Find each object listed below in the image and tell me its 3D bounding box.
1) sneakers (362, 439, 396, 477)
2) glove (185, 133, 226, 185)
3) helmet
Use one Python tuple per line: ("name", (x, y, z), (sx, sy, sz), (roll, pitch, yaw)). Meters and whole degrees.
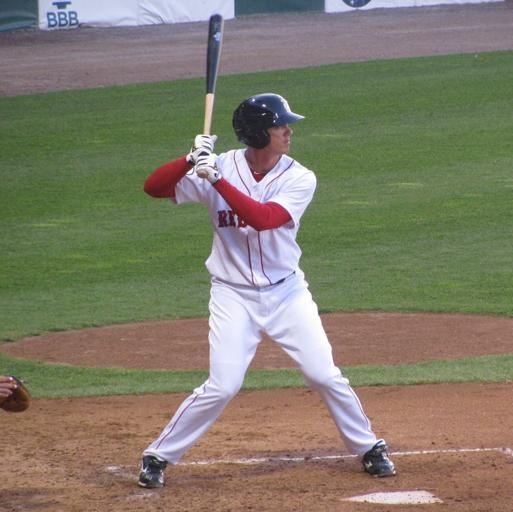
("sneakers", (1.018, 1.694, 10.867), (0.222, 0.327, 0.230), (-8, -30, -2))
("glove", (-0.431, -0.820, 10.706), (0.384, 0.100, 0.368), (36, 24, -28))
("helmet", (0.093, -1.177, 11.048), (0.643, 0.448, 0.425), (0, 23, 0))
